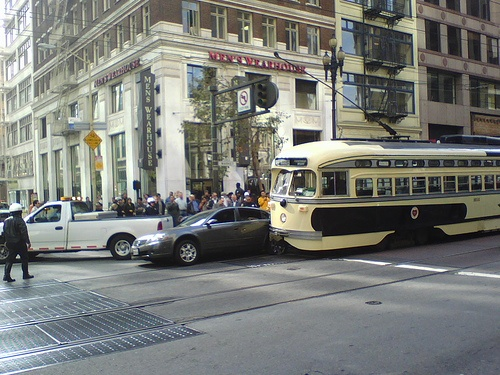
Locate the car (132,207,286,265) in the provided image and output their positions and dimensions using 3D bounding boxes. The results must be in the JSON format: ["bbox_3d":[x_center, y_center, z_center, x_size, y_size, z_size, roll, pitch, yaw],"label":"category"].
[{"bbox_3d":[-1.443,1.615,18.445,4.324,1.344,1.767,2,-7,-27],"label":"car"}]

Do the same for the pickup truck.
[{"bbox_3d":[-5.148,1.516,20.265,4.859,1.739,2.261,0,-5,-5],"label":"pickup truck"}]

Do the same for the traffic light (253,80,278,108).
[{"bbox_3d":[0.478,-3.145,20.152,0.862,1.073,0.613,0,6,17],"label":"traffic light"}]

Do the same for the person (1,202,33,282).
[{"bbox_3d":[-6.644,1.578,16.548,0.787,2.165,1.487,-5,8,-22],"label":"person"}]

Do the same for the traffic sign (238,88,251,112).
[{"bbox_3d":[-0.179,-3.172,21.280,0.113,0.870,0.845,5,0,-26],"label":"traffic sign"}]

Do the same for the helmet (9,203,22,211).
[{"bbox_3d":[-6.620,0.575,16.515,0.248,0.298,0.327,1,10,-17],"label":"helmet"}]
